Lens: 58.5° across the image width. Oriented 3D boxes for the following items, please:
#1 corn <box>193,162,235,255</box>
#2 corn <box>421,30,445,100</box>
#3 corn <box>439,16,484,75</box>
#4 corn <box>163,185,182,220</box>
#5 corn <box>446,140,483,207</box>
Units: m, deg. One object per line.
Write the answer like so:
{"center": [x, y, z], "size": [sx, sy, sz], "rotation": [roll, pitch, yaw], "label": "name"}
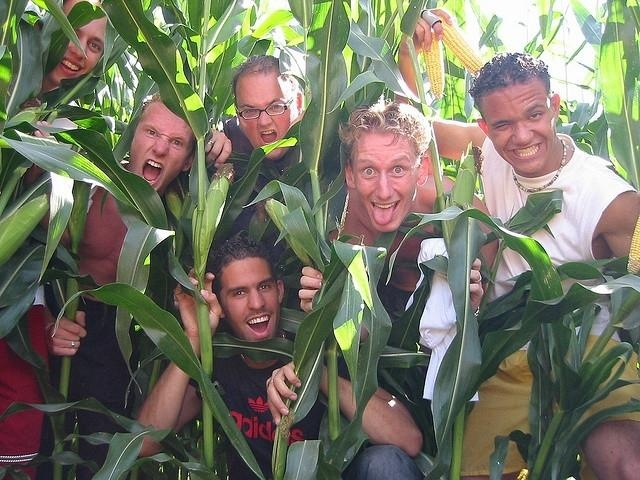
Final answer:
{"center": [-0.400, -0.127, 2.103], "size": [0.112, 0.357, 0.088], "rotation": [12, -12, -13], "label": "corn"}
{"center": [0.472, -0.709, 2.369], "size": [0.067, 0.299, 0.067], "rotation": [-6, 1, 39], "label": "corn"}
{"center": [0.583, -0.799, 2.369], "size": [0.164, 0.201, 0.190], "rotation": [2, 7, -4], "label": "corn"}
{"center": [-0.648, -0.172, 2.522], "size": [0.053, 0.199, 0.047], "rotation": [-17, -38, 0], "label": "corn"}
{"center": [0.579, -0.242, 2.250], "size": [0.087, 0.265, 0.130], "rotation": [-3, -17, 43], "label": "corn"}
